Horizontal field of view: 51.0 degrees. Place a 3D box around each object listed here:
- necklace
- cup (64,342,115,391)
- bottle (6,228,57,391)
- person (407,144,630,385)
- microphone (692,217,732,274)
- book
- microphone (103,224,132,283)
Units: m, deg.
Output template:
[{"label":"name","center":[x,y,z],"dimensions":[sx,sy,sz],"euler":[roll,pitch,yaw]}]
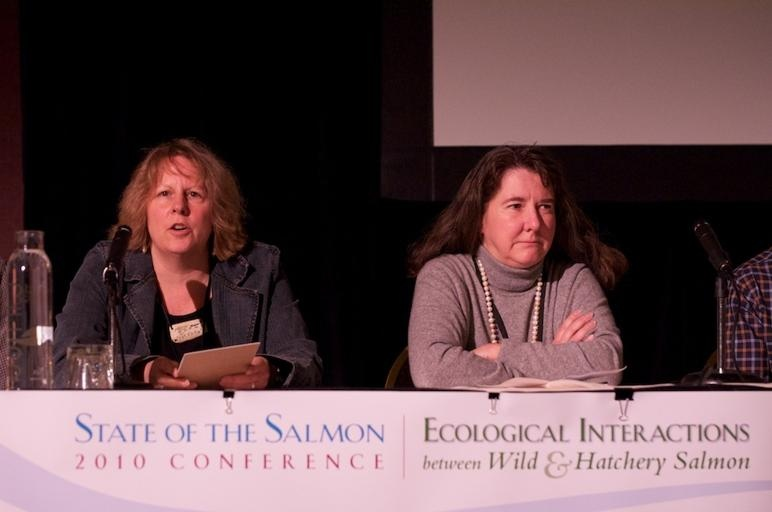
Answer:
[{"label":"necklace","center":[0.508,0.193,3.377],"dimensions":[0.245,0.353,0.052],"euler":[-5,-5,-5]},{"label":"cup","center":[-0.941,0.351,2.579],"dimensions":[0.166,0.142,0.150],"euler":[1,-4,-11]},{"label":"bottle","center":[-1.163,0.172,2.618],"dimensions":[0.149,0.510,0.075],"euler":[0,-7,-15]},{"label":"person","center":[0.519,0.024,3.368],"dimensions":[0.866,0.990,0.710],"euler":[-3,-7,9]},{"label":"microphone","center":[1.446,-0.057,3.585],"dimensions":[0.104,0.285,0.077],"euler":[-13,-30,-11]},{"label":"book","center":[-0.553,0.351,2.607],"dimensions":[0.243,0.157,0.153],"euler":[-5,24,-26]},{"label":"microphone","center":[-0.927,-0.005,2.788],"dimensions":[0.080,0.228,0.227],"euler":[1,-7,-18]}]
